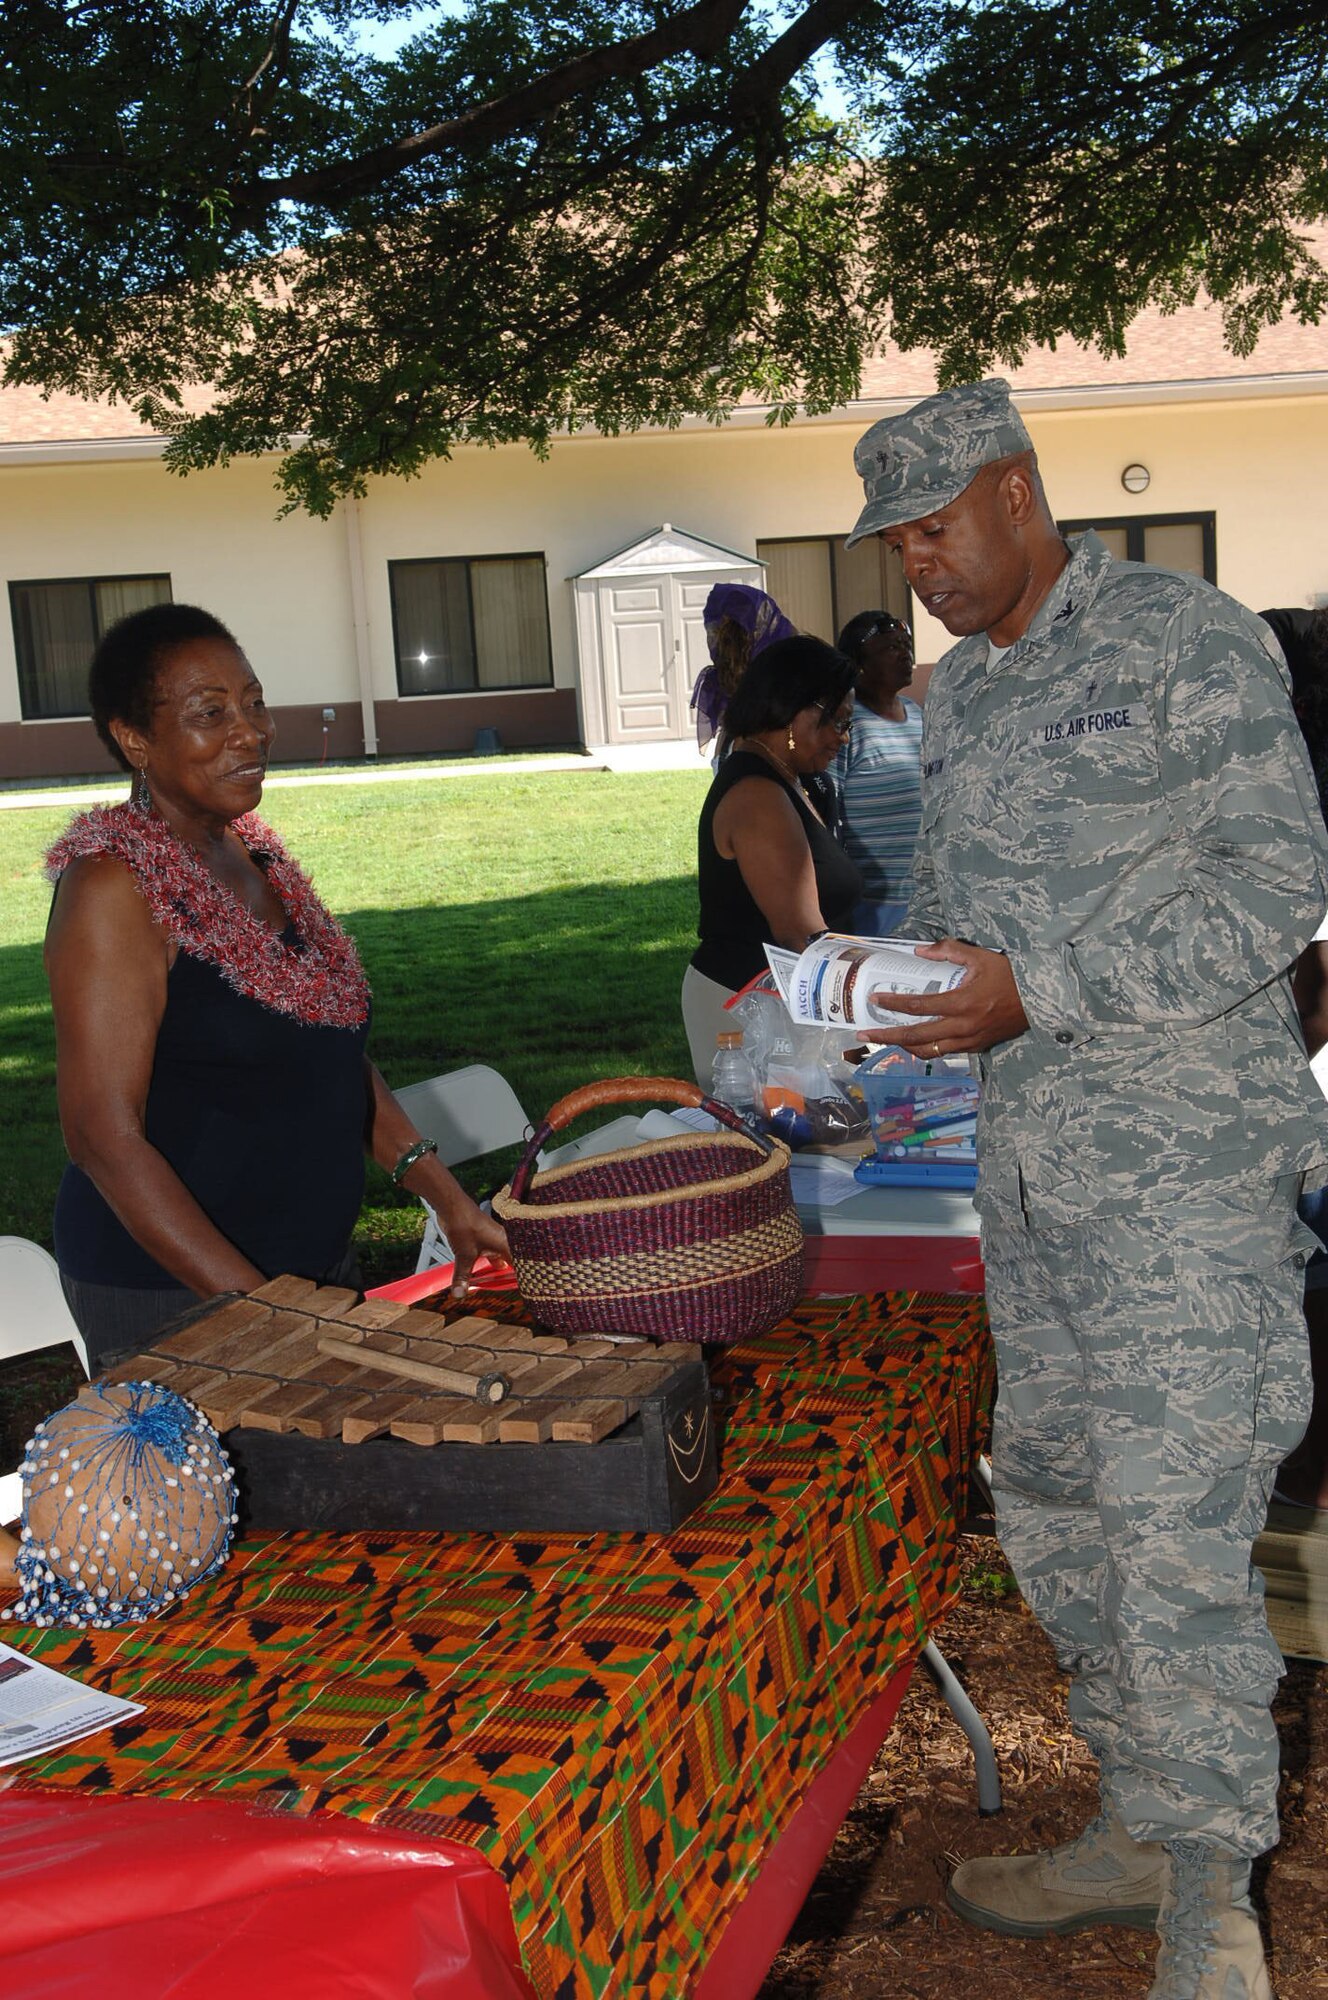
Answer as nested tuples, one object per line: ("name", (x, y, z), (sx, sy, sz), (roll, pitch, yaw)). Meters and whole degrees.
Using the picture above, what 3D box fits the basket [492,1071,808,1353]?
("basket", (-0.026, 0.208, 1.557), (0.285, 0.228, 0.300), (-2, 11, 41))

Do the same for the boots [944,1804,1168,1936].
("boots", (0.546, 1.203, 2.159), (0.333, 0.175, 0.121), (2, 1, 14))

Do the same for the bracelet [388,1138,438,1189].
("bracelet", (-0.377, 0.248, 2.307), (0.055, 0.069, 0.026), (26, 16, -47))
